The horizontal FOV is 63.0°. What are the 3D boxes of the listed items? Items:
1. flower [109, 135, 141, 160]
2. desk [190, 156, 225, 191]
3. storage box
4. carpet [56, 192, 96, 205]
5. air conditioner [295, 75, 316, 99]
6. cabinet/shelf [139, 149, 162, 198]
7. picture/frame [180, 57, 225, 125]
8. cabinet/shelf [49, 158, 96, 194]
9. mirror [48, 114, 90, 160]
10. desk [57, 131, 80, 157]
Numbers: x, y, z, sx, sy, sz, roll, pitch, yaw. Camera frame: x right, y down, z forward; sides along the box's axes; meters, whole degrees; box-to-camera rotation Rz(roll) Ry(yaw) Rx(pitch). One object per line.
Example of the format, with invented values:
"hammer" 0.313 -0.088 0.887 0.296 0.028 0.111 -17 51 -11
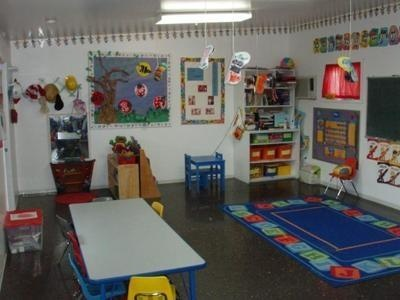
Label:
"flower" -1.618 -0.073 7.180 0.540 0.278 0.543 -4 15 -39
"desk" 0.172 0.456 7.910 0.925 0.942 0.735 -2 8 -14
"storage box" -2.625 1.208 4.966 0.548 0.571 0.578 -2 9 -18
"carpet" -2.298 0.885 6.087 0.536 0.043 0.565 -1 7 -11
"air conditioner" 2.706 -1.579 8.379 0.136 0.555 0.716 -4 11 -20
"cabinet/shelf" -1.168 0.530 7.573 0.342 0.918 0.909 -2 7 -11
"picture/frame" 0.040 -1.514 8.468 1.158 1.720 0.071 0 21 1
"cabinet/shelf" -2.647 0.543 6.854 0.779 0.656 0.725 0 -3 -14
"mirror" -3.116 -0.337 7.640 0.950 1.280 0.086 -2 3 -25
"desk" -3.172 -0.112 7.859 0.600 0.665 0.544 -6 17 -39
